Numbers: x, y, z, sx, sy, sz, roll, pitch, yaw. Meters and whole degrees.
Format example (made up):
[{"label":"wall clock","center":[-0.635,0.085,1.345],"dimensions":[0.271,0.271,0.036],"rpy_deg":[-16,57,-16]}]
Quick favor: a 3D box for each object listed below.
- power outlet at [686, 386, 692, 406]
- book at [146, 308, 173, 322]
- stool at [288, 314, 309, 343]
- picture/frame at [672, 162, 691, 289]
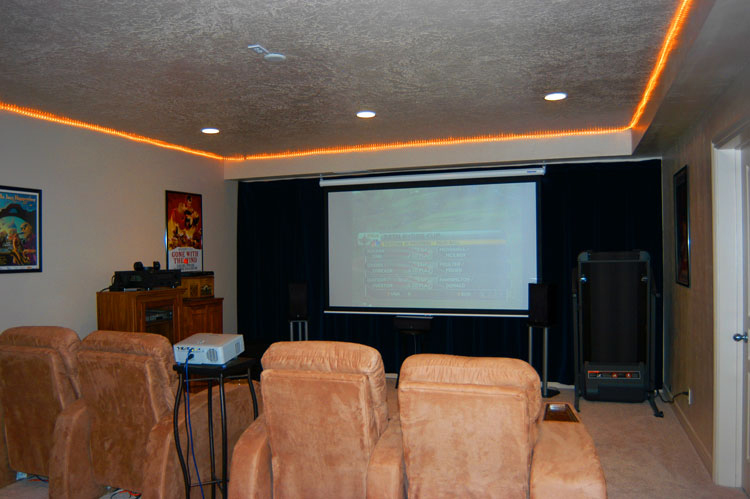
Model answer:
[{"label":"power outlet","center":[3.178,1.470,5.720],"dimensions":[0.021,0.215,0.211],"rpy_deg":[-1,-8,24]},{"label":"book","center":[-2.487,0.745,6.500],"dimensions":[0.055,0.128,0.245],"rpy_deg":[1,-2,36]},{"label":"stool","center":[-1.093,1.110,8.051],"dimensions":[0.279,0.359,0.817],"rpy_deg":[0,-4,-7]},{"label":"picture/frame","center":[3.242,-0.228,5.974],"dimensions":[0.080,1.228,0.690],"rpy_deg":[-1,-4,22]}]
